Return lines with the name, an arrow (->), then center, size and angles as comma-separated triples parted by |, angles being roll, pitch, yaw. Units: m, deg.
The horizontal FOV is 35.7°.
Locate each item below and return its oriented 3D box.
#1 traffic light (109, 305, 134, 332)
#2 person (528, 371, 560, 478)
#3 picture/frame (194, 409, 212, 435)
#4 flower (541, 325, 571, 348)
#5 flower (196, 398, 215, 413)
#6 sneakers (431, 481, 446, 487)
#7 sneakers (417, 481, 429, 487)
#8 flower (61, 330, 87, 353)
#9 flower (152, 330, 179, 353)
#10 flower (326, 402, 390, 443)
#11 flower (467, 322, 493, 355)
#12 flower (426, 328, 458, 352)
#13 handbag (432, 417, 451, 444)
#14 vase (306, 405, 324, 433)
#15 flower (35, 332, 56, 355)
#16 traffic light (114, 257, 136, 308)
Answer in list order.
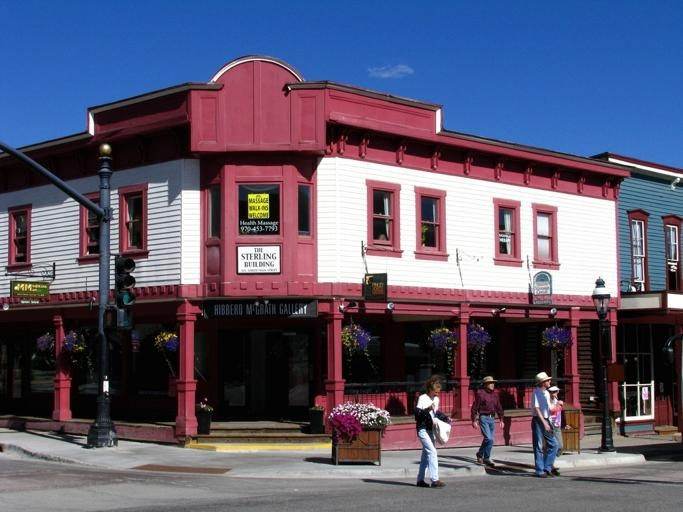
traffic light -> -6.411, 1.860, 30.780 | 0.688, 0.656, 0.588 | 3, -12, -17
person -> 5.275, 4.390, 27.784 | 0.625, 2.665, 1.100 | -3, -11, 11
picture/frame -> -4.146, 5.004, 31.858 | 0.422, 0.702, 0.377 | 2, -12, -16
flower -> 7.374, 2.844, 36.556 | 0.747, 0.827, 0.785 | -9, 10, -11
flower -> -4.233, 4.695, 33.156 | 0.487, 0.519, 0.282 | 0, 1, 17
sneakers -> 2.299, 5.488, 25.599 | 0.145, 0.127, 0.277 | 2, -12, -37
sneakers -> 1.946, 5.523, 25.832 | 0.310, 0.223, 0.108 | -1, 0, 1
flower -> -8.754, 2.848, 34.655 | 0.682, 0.416, 0.742 | 3, 2, -29
flower -> -5.371, 2.677, 32.663 | 0.901, 0.648, 0.760 | -5, -5, 34
flower -> 0.428, 4.399, 28.392 | 1.097, 0.718, 1.105 | 0, 1, -33
flower -> 4.497, 2.725, 34.961 | 0.954, 1.132, 1.018 | -1, 0, 14
flower -> 3.250, 2.750, 34.402 | 0.785, 0.871, 0.798 | 0, 1, -28
handbag -> 2.380, 4.188, 25.457 | 0.370, 0.572, 0.488 | -3, -12, 7
vase -> -0.768, 4.983, 32.154 | 0.610, 0.976, 0.625 | -1, -10, 4
flower -> -10.142, 3.078, 36.536 | 0.290, 0.980, 0.722 | 0, 5, -44
traffic light -> -6.228, 0.810, 30.556 | 0.517, 1.471, 0.685 | 2, -12, -14
